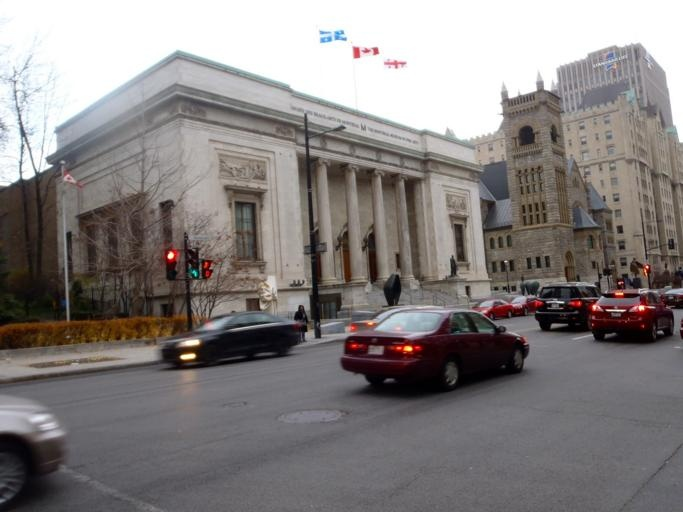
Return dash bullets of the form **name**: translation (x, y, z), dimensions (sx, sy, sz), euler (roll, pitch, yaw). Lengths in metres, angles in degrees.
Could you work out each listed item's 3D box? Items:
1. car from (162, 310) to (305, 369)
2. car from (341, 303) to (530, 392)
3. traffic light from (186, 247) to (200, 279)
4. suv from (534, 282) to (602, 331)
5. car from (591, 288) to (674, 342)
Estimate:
- **car**: translation (-3.765, 2.817, 19.069), dimensions (4.252, 1.392, 1.765), euler (7, -12, -40)
- **car**: translation (2.305, 1.879, 12.141), dimensions (3.714, 1.132, 1.656), euler (-1, -3, -43)
- **traffic light**: translation (-6.064, 0.226, 22.640), dimensions (0.482, 1.267, 0.869), euler (-2, -5, -16)
- **suv**: translation (9.629, 2.019, 23.676), dimensions (1.480, 1.287, 3.327), euler (-4, -2, 35)
- **car**: translation (10.719, 2.019, 19.923), dimensions (1.430, 1.209, 3.256), euler (-4, -3, 39)
